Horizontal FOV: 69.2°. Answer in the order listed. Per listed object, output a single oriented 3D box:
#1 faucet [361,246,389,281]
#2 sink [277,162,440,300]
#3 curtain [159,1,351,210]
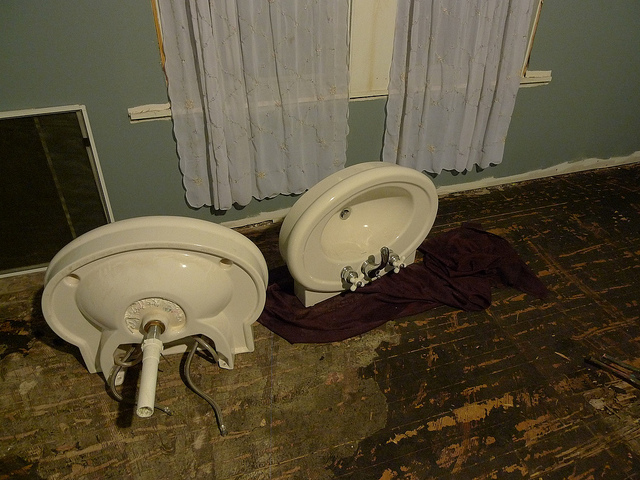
[{"bbox_3d":[0.346,0.143,3.012,0.129,0.227,0.120,12,49,-17],"label":"faucet"},{"bbox_3d":[0.274,-0.018,2.977,1.107,0.891,0.437,-21,40,-24],"label":"sink"},{"bbox_3d":[-0.481,-0.964,3.162,1.138,1.599,0.167,-13,39,-15],"label":"curtain"}]
